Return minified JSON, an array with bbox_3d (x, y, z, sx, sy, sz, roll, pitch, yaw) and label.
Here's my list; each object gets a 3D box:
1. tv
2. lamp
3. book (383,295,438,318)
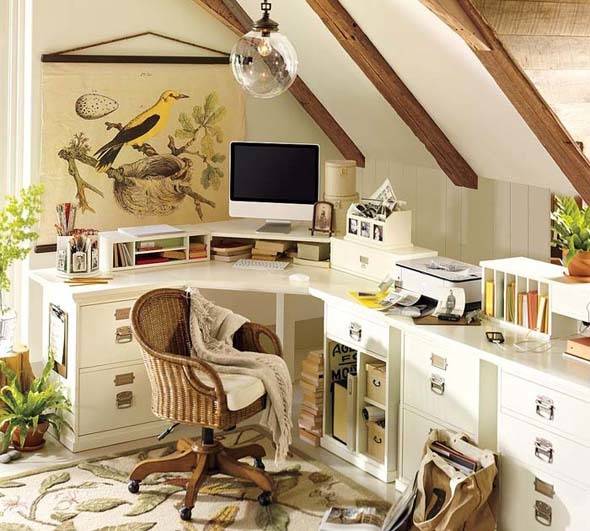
[{"bbox_3d":[-0.136,-0.506,3.597,0.634,0.598,0.205,2,6,10],"label":"tv"},{"bbox_3d":[-0.117,-0.917,2.395,0.227,0.333,0.264,-5,9,-40],"label":"lamp"},{"bbox_3d":[0.564,0.199,2.625,0.127,0.033,0.136,6,17,33],"label":"book"}]
